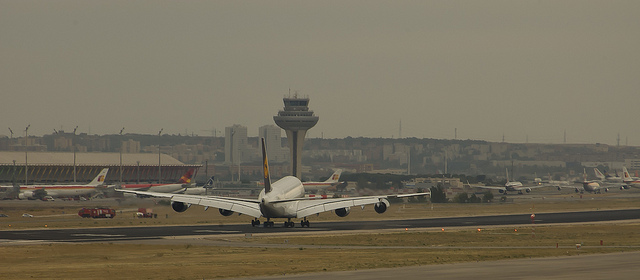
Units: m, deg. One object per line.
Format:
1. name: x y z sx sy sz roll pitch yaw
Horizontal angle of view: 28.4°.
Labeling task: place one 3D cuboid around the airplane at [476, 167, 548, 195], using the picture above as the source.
1. airplane: 82.176 18.365 546.083 27.246 8.088 10.417 -1 0 15

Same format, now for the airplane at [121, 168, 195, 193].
1. airplane: -61.941 15.722 475.660 35.145 8.379 11.801 0 -1 -22
